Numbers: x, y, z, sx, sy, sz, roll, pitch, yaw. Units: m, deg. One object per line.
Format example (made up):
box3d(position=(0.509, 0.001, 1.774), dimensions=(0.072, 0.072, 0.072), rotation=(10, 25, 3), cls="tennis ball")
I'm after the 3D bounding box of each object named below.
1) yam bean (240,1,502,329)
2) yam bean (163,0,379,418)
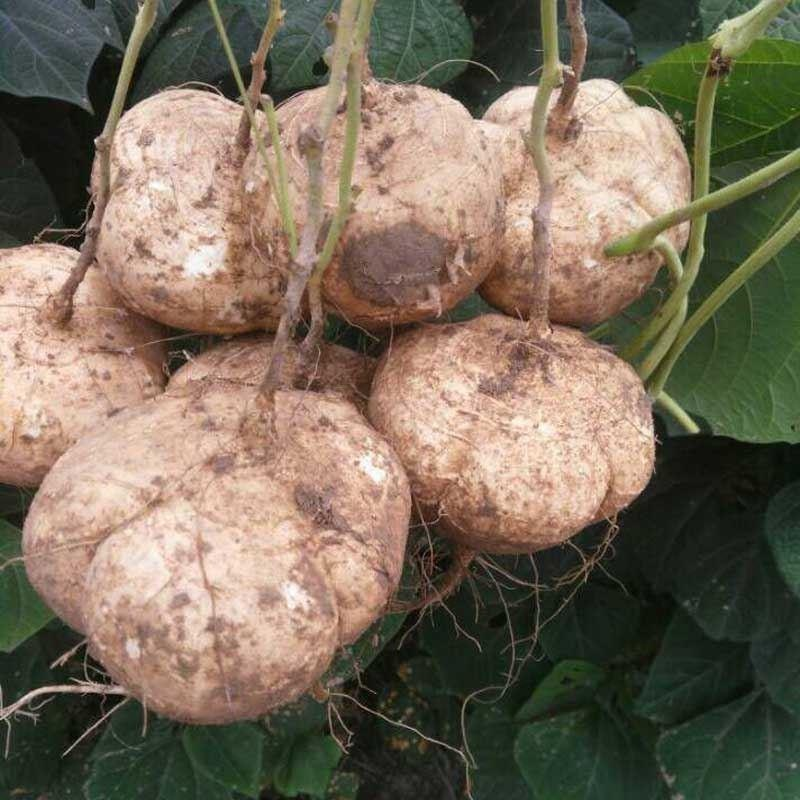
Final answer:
box3d(position=(-0.060, -0.307, 1.469), dimensions=(0.430, 0.272, 0.491), rotation=(12, 45, 2), cls="yam bean")
box3d(position=(-0.159, -0.250, 1.328), dimensions=(0.298, 0.586, 0.483), rotation=(0, 66, -13), cls="yam bean")
